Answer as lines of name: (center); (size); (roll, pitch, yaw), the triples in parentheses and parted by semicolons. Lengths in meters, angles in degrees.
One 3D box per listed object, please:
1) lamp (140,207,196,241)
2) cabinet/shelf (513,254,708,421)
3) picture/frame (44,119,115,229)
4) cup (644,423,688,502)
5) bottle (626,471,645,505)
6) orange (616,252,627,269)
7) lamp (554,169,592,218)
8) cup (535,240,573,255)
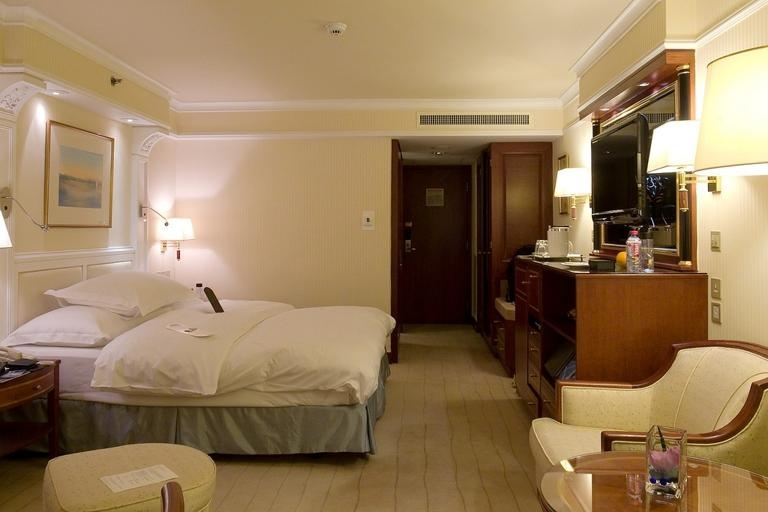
lamp: (-2.418, -0.366, 5.915); (0.672, 0.429, 0.412); (-6, 9, -38)
cabinet/shelf: (1.777, 0.732, 4.432); (0.860, 1.255, 1.708); (0, 0, 3)
picture/frame: (-2.732, -0.709, 4.757); (0.936, 0.947, 0.035); (9, 6, 25)
cup: (1.318, 0.964, 2.455); (0.178, 0.323, 0.163); (-1, 7, 0)
bottle: (1.189, 1.101, 2.497); (0.085, 0.154, 0.087); (-3, -2, 0)
orange: (1.788, 0.026, 3.980); (0.103, 0.126, 0.106); (2, -3, 3)
lamp: (1.916, -0.681, 5.477); (0.372, 0.494, 0.397); (1, -3, -3)
cup: (1.586, -0.084, 5.143); (0.298, 0.151, 0.467); (-2, 7, -12)
